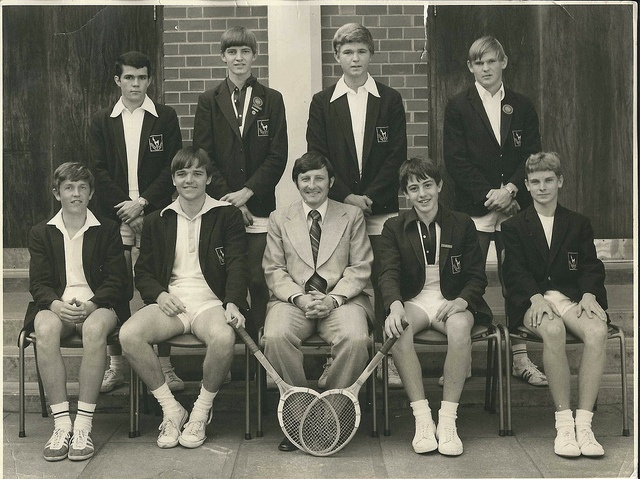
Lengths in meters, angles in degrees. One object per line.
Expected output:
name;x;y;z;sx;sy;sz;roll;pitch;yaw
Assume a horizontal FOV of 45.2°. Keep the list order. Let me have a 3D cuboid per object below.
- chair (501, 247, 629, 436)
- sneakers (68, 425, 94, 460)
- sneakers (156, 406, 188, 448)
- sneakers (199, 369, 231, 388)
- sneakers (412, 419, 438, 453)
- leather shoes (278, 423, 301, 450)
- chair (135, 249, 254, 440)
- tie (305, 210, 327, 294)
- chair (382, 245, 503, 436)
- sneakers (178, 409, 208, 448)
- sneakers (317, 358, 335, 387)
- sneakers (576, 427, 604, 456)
chair;2.017;1.072;6.088;0.871;1.631;1.006;0;-12;-2
sneakers;-1.728;1.492;5.646;0.176;0.159;0.424;3;4;-10
sneakers;-1.093;1.410;5.709;0.124;0.143;0.348;-2;9;1
sneakers;-0.804;1.163;6.400;0.137;0.146;0.145;-2;-25;1
sneakers;0.766;1.431;5.565;0.174;0.220;0.138;-1;8;7
leather shoes;-0.234;1.472;5.669;0.202;0.205;0.089;0;6;-10
chair;-1.007;0.771;5.915;0.955;1.446;0.763;-3;8;-6
tie;-0.017;0.095;6.168;0.126;0.725;0.101;1;-13;0
chair;1.033;1.020;6.121;0.875;0.925;0.744;-2;-9;15
sneakers;-0.915;1.405;5.709;0.135;0.252;0.233;4;11;39
sneakers;0.047;1.095;6.248;0.078;0.226;0.219;16;-4;-1
sneakers;1.928;1.467;5.483;0.102;0.109;0.265;-6;17;1
